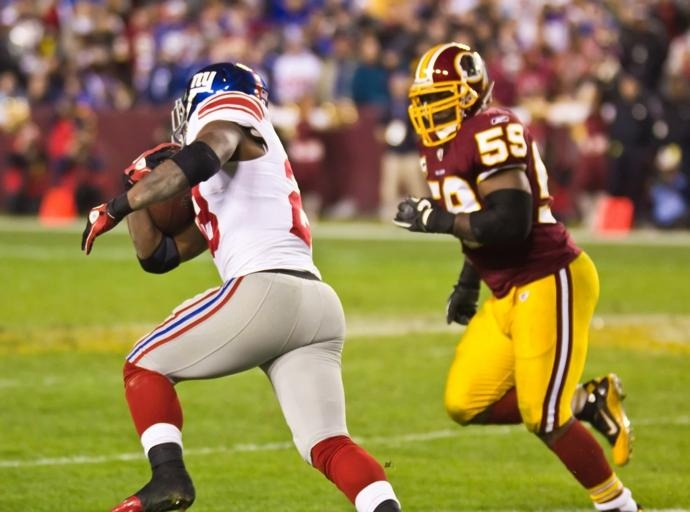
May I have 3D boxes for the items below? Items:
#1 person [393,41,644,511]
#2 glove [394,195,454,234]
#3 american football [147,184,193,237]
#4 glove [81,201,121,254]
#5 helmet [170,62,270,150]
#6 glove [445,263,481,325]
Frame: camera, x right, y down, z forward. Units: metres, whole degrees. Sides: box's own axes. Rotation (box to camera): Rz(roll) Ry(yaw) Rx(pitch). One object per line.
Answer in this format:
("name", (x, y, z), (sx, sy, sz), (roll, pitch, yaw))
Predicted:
("person", (0.824, 0.143, 4.449), (1.115, 2.185, 0.640), (4, 19, 18))
("glove", (0.359, -0.185, 4.266), (0.098, 0.135, 0.254), (24, -9, -42))
("american football", (-0.777, -0.197, 4.504), (0.203, 0.193, 0.184), (-2, 55, -19))
("glove", (-1.050, -0.134, 4.056), (0.250, 0.102, 0.159), (-41, 2, -4))
("helmet", (-0.536, -0.685, 4.402), (0.455, 0.430, 0.342), (3, 0, 12))
("glove", (0.586, 0.196, 4.902), (0.138, 0.303, 0.190), (16, 8, 33))
